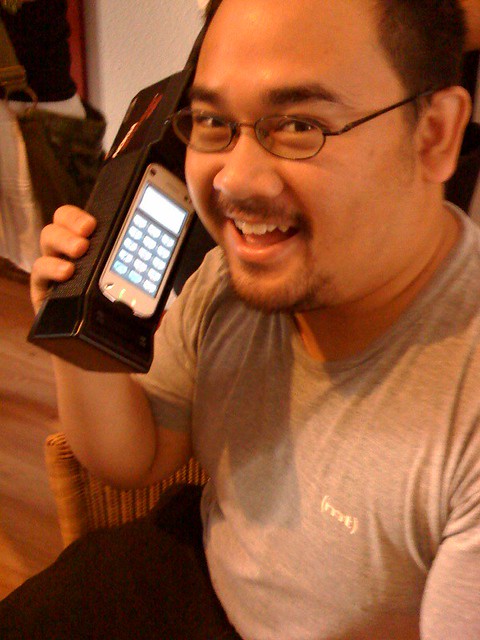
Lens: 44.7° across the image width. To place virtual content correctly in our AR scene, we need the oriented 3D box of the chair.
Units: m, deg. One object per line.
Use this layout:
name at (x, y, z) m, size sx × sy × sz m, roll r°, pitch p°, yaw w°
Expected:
chair at (-0.171, 0.210, 0.975) m, size 0.215 × 0.301 × 0.183 m, roll -5°, pitch 24°, yaw -4°
